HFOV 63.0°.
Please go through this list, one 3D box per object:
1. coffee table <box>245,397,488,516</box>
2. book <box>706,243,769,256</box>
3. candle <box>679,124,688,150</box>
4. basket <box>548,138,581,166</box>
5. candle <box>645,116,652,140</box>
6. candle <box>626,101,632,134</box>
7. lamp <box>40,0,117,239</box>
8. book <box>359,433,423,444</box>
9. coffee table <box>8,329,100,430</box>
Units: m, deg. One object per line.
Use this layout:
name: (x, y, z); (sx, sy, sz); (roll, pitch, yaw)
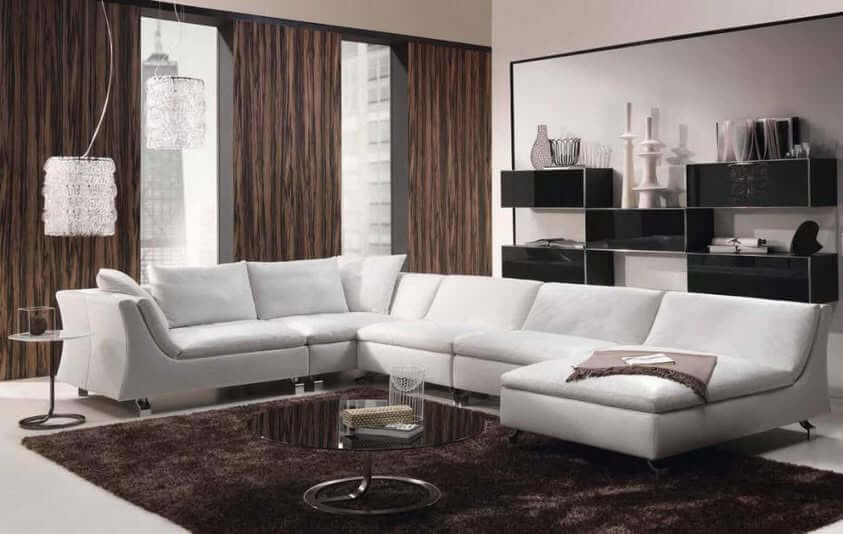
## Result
coffee table: (-0.265, 0.943, 3.838); (0.878, 0.281, 0.826); (0, 4, -1)
book: (2.936, -0.165, 6.378); (0.102, 0.090, 0.516); (-7, 10, -41)
candle: (2.624, -1.315, 6.880); (0.096, 0.239, 0.015); (6, 11, 38)
basket: (1.585, -1.275, 7.686); (0.345, 0.260, 0.329); (1, -4, -7)
candle: (2.335, -1.426, 7.016); (0.054, 0.229, 0.113); (8, 12, 44)
candle: (2.155, -1.562, 7.159); (0.059, 0.313, 0.136); (2, 9, 16)
lamp: (-3.088, -1.373, 6.156); (0.727, 2.267, 1.095); (-4, 9, -24)
book: (-0.175, 0.916, 3.709); (0.331, 0.029, 0.094); (0, 7, 5)
coffee table: (-2.813, 0.811, 5.458); (0.811, 0.804, 0.812); (0, -3, 42)
